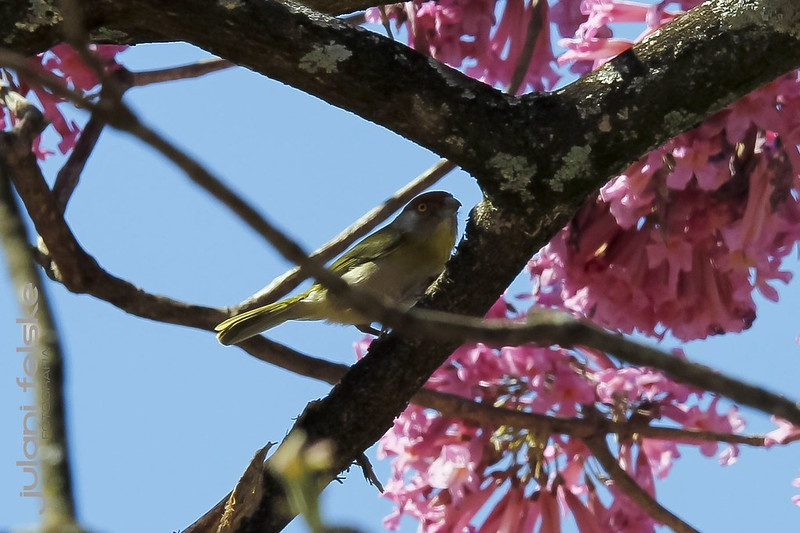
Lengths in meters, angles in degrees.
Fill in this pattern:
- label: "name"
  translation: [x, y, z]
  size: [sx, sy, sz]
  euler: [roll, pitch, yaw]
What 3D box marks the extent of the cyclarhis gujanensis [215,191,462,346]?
- label: "cyclarhis gujanensis"
  translation: [-0.200, 0.063, 4.426]
  size: [0.769, 0.431, 0.241]
  euler: [-15, -23, 9]
